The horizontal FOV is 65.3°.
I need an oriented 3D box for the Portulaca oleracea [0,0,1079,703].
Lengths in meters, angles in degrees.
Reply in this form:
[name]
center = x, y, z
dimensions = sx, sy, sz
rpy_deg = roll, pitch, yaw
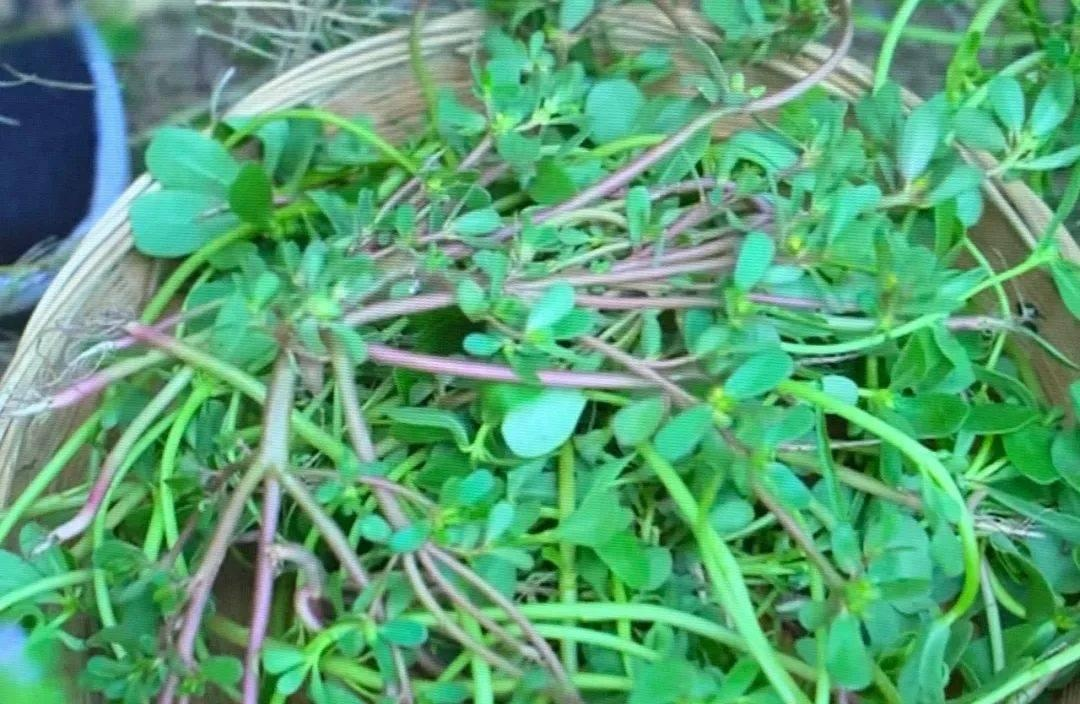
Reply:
[Portulaca oleracea]
center = -0.029, -0.067, 0.576
dimensions = 0.770, 0.151, 0.339
rpy_deg = -10, 62, -3

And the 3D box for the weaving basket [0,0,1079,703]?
[weaving basket]
center = -0.029, -0.067, 0.576
dimensions = 0.770, 0.151, 0.339
rpy_deg = -10, 62, -3

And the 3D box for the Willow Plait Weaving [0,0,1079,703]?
[Willow Plait Weaving]
center = -0.100, -0.105, 0.820
dimensions = 0.663, 0.205, 0.575
rpy_deg = -35, 91, -4
